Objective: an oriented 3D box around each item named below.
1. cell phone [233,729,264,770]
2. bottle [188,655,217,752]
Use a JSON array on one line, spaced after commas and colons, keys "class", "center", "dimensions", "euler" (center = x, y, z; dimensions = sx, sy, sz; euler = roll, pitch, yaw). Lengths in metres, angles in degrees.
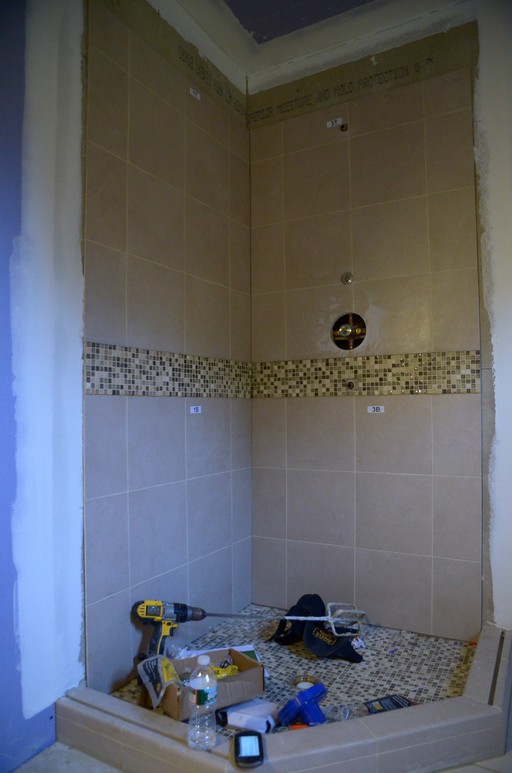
[{"class": "cell phone", "center": [-0.015, 0.842, 1.369], "dimensions": [0.072, 0.041, 0.095], "euler": [1, -6, -4]}, {"class": "bottle", "center": [-0.133, 0.808, 1.519], "dimensions": [0.067, 0.214, 0.073], "euler": [1, -6, 0]}]
